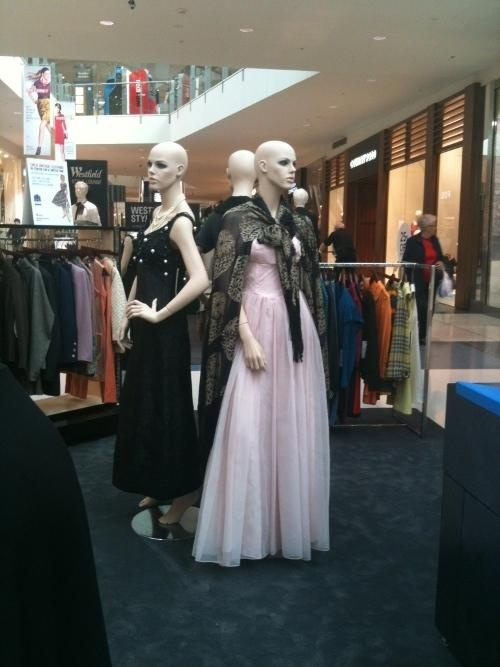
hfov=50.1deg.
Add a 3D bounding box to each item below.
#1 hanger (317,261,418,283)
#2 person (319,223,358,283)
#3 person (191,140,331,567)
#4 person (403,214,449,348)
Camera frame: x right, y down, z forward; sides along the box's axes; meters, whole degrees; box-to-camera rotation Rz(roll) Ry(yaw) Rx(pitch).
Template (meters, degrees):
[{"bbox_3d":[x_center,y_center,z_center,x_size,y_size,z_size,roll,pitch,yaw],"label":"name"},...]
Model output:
[{"bbox_3d":[0.929,-0.478,4.179,0.804,0.228,0.379,0,2,-6],"label":"hanger"},{"bbox_3d":[1.405,-1.043,8.557,0.552,1.491,0.539,-4,-12,27],"label":"person"},{"bbox_3d":[0.059,0.069,2.004,0.554,1.570,0.329,0,5,-7],"label":"person"},{"bbox_3d":[2.134,-0.637,6.469,0.457,1.606,0.479,-2,32,13],"label":"person"}]
